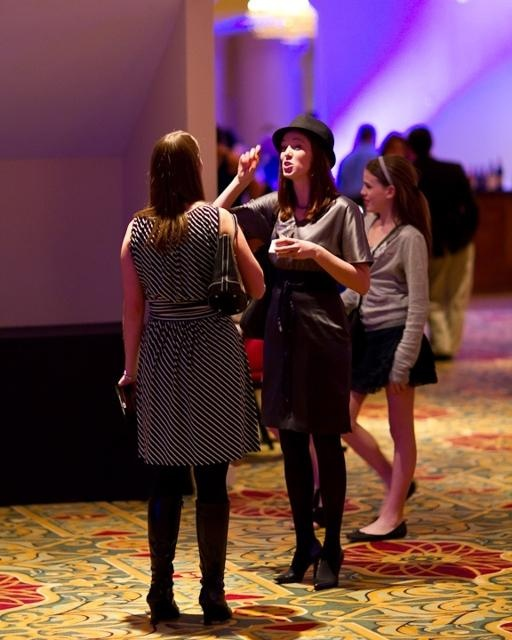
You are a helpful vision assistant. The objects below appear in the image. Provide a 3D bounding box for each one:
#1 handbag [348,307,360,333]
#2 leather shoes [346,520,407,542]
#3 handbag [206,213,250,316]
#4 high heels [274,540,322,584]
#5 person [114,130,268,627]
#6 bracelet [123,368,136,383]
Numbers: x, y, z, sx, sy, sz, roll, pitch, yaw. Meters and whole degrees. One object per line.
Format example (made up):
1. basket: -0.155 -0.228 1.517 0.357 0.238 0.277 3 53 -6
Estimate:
1. handbag: 0.354 -0.003 2.608 0.056 0.074 0.023 -4 -9 44
2. leather shoes: 0.433 0.768 2.651 0.225 0.082 0.073 3 -7 -11
3. handbag: -0.066 -0.122 1.619 0.101 0.282 0.122 -2 -32 1
4. high heels: 0.122 0.715 2.132 0.155 0.104 0.056 0 -6 -25
5. person: -0.164 0.134 1.694 0.369 1.188 0.319 -1 -3 1
6. bracelet: -0.316 0.139 1.830 0.036 0.043 0.112 3 -2 -10
